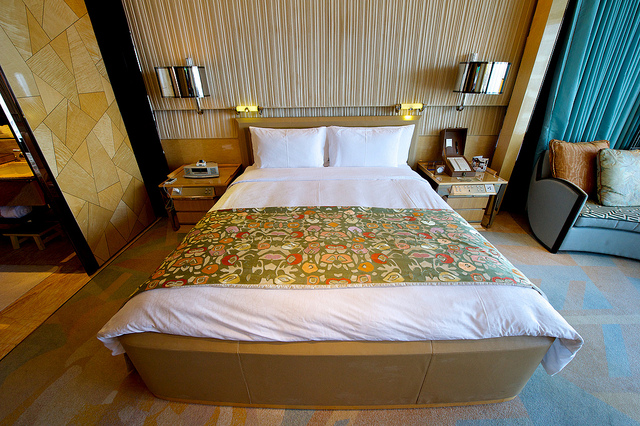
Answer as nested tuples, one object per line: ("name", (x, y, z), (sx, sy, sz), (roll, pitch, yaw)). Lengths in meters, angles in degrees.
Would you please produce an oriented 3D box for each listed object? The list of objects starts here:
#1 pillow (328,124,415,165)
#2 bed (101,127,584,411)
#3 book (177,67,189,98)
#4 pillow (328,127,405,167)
("pillow", (0.653, -0.827, 4.915), (1.098, 0.169, 0.721), (2, 65, 12))
("bed", (0.227, 0.331, 4.032), (4.386, 1.976, 2.588), (0, 26, 2))
("book", (-1.662, -1.574, 4.439), (0.090, 0.320, 0.027), (-4, 27, -4))
("pillow", (0.578, -0.834, 4.765), (0.972, 0.582, 0.209), (1, 24, 6))
